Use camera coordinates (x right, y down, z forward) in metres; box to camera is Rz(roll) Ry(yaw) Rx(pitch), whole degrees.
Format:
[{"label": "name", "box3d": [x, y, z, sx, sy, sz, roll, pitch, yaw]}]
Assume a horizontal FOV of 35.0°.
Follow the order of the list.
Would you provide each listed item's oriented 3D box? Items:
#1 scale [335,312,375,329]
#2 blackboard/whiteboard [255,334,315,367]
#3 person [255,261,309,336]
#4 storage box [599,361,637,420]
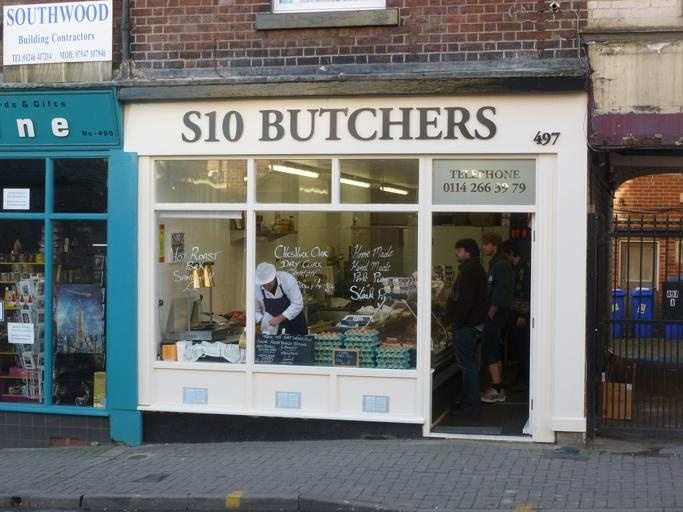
[{"label": "scale", "box3d": [0.170, 0.807, 13.521, 0.337, 0.144, 0.213, -2, 4, -3]}, {"label": "blackboard/whiteboard", "box3d": [-0.710, 1.172, 13.582, 0.769, 0.328, 0.150, 0, 13, 9]}, {"label": "person", "box3d": [-0.736, 0.494, 13.901, 0.520, 0.952, 0.609, 5, 3, 11]}, {"label": "storage box", "box3d": [3.492, 1.680, 13.634, 0.646, 0.645, 0.758, 0, 0, 23]}]
